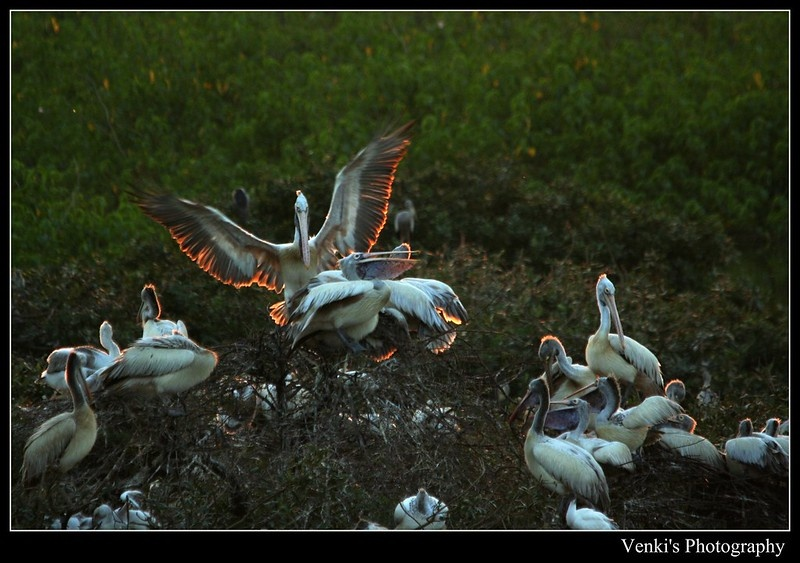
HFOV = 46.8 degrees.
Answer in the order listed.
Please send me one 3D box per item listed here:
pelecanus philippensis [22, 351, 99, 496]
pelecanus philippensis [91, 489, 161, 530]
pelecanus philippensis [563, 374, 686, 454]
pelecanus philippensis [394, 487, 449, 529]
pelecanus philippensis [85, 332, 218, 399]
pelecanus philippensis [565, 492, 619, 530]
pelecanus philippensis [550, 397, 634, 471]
[{"bbox_3d":[-3.433,1.554,9.506,0.627,1.209,0.881,18,33,-2],"label":"pelecanus philippensis"},{"bbox_3d":[-2.814,2.352,9.434,0.423,0.246,0.533,2,-5,-21],"label":"pelecanus philippensis"},{"bbox_3d":[2.525,1.335,9.740,1.159,0.405,0.910,-3,73,-16],"label":"pelecanus philippensis"},{"bbox_3d":[0.187,2.313,9.306,0.401,0.507,0.165,9,17,1],"label":"pelecanus philippensis"},{"bbox_3d":[-2.488,0.860,9.934,1.634,0.676,0.547,3,9,-1],"label":"pelecanus philippensis"},{"bbox_3d":[1.832,2.238,8.927,0.543,0.364,0.218,3,-8,12],"label":"pelecanus philippensis"},{"bbox_3d":[1.970,1.625,9.432,0.954,0.900,0.377,5,-13,-23],"label":"pelecanus philippensis"}]
